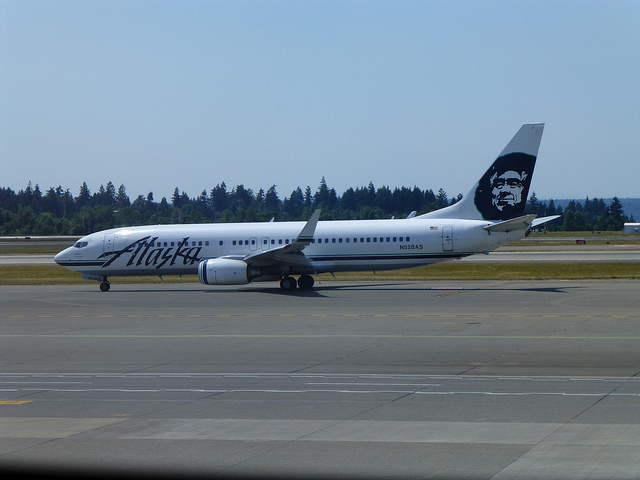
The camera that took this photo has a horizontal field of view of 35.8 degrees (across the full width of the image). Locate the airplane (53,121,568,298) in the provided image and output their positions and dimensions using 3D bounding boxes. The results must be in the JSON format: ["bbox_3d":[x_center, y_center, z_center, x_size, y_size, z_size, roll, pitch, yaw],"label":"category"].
[{"bbox_3d":[-0.844,-0.992,48.295,25.052,5.404,17.860,-2,11,0],"label":"airplane"}]
